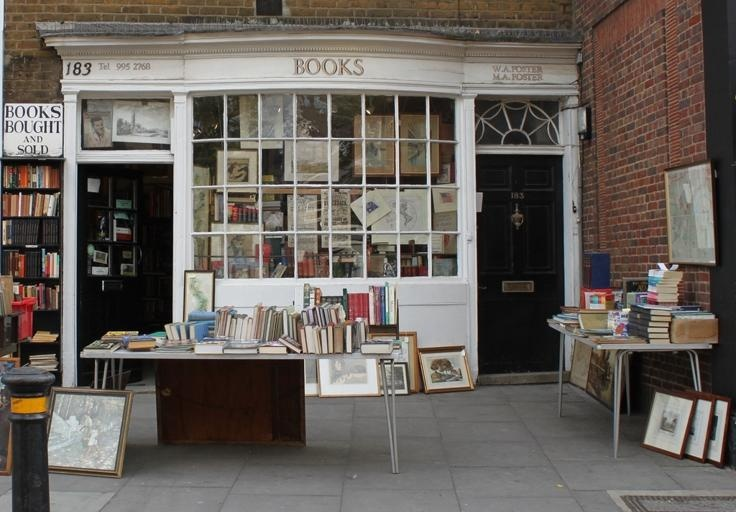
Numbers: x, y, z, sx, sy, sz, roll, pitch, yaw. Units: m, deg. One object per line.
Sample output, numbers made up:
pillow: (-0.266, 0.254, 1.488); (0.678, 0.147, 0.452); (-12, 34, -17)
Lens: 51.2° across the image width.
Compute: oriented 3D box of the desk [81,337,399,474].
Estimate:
desk: (-1.325, 1.431, 8.055); (3.171, 1.146, 1.071); (2, 2, -6)

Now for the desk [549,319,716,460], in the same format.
desk: (3.164, 1.338, 8.319); (1.039, 0.904, 1.880); (-5, -4, 21)

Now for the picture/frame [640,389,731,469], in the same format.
picture/frame: (3.142, 1.702, 7.493); (0.658, 0.551, 0.048); (10, -7, 43)

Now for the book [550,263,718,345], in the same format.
book: (2.821, 0.560, 7.774); (0.952, 0.408, 0.963); (0, 2, -14)
